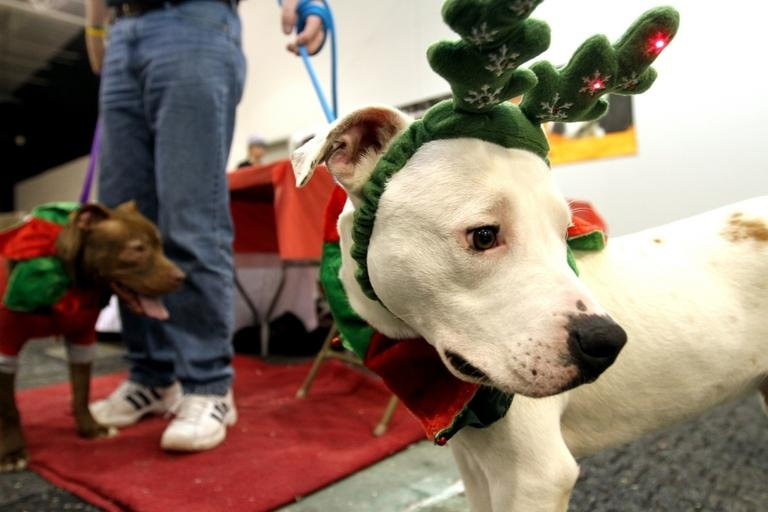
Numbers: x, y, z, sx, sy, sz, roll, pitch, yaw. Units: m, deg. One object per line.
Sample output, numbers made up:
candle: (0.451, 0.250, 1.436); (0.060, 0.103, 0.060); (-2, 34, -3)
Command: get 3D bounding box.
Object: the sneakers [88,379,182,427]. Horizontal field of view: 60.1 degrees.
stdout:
sneakers: (-0.884, 0.511, 2.326); (0.336, 0.126, 0.118); (2, 3, -39)
